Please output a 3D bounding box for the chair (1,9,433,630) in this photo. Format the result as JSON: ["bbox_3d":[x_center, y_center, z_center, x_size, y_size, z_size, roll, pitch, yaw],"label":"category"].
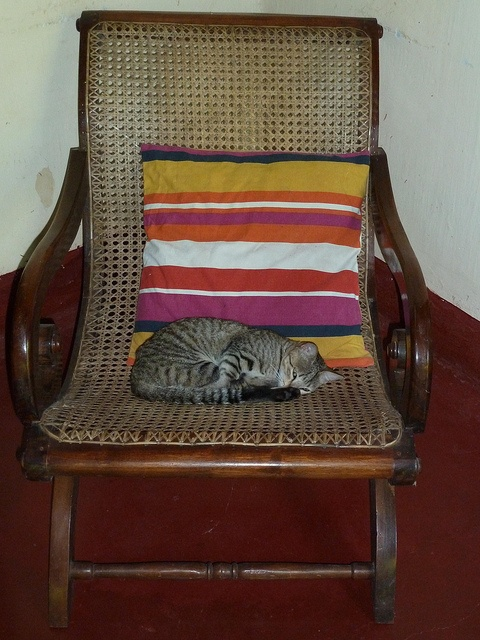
[{"bbox_3d":[-0.031,-0.187,1.252,0.715,0.664,0.817,2,30,2],"label":"chair"}]

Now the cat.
[{"bbox_3d":[-0.009,0.098,1.280,0.357,0.115,0.173,4,-15,-5],"label":"cat"}]
